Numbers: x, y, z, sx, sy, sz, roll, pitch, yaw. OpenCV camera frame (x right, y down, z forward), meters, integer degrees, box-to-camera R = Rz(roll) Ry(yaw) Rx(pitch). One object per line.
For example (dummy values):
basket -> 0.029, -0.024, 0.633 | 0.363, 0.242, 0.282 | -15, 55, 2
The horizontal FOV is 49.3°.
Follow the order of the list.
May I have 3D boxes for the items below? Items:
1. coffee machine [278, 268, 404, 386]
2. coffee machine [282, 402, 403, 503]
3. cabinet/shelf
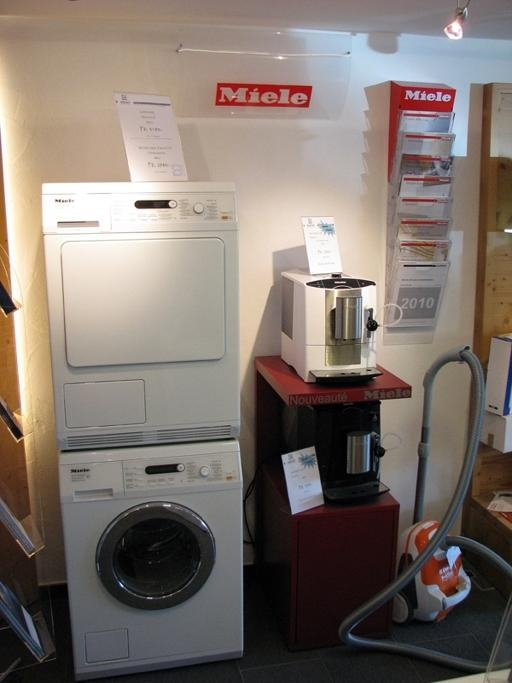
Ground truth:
coffee machine -> 0.290, -0.062, 2.224 | 0.365, 0.396, 0.467 | -3, 16, 1
coffee machine -> 0.301, 0.424, 2.314 | 0.288, 0.421, 0.464 | -3, 5, -22
cabinet/shelf -> 0.209, 0.676, 2.420 | 0.681, 1.114, 0.697 | -3, 13, -16
